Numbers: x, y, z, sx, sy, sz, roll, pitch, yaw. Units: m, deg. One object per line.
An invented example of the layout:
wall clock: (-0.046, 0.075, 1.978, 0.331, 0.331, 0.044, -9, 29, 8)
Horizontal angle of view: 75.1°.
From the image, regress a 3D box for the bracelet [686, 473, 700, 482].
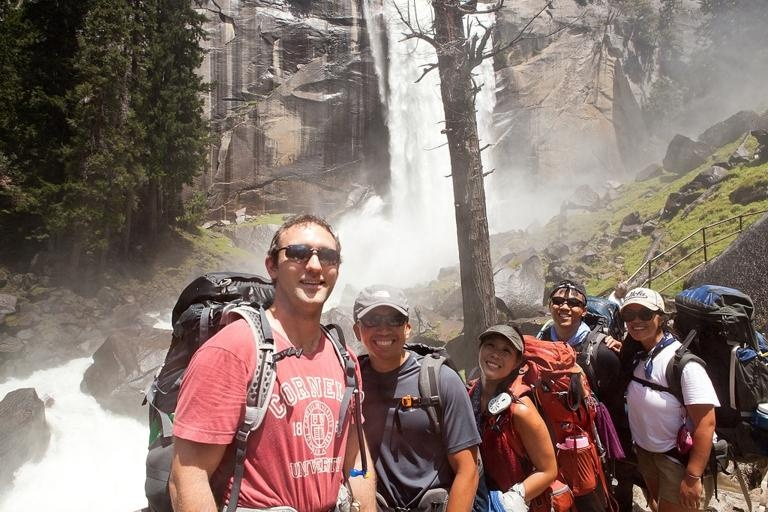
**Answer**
bracelet: (4.915, 3.569, 7.935, 0.135, 0.141, 0.147, 20, -24, -20)
